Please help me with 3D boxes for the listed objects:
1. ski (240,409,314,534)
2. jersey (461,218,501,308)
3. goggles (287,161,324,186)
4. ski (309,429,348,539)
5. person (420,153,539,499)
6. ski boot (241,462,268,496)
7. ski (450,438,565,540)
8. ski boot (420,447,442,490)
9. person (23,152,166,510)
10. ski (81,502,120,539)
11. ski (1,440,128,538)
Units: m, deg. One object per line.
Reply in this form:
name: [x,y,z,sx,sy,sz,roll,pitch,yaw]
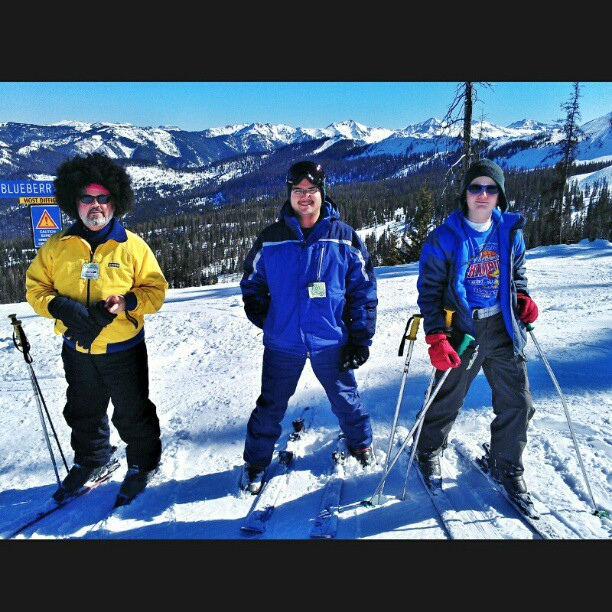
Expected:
ski: [-0.197,1.377,4.613,0.197,0.135,1.507,3,27,11]
jersey: [1.318,-0.313,4.012,0.273,0.632,0.132,-2,12,-3]
goggles: [0.002,-0.982,3.983,0.270,0.180,0.149,-2,13,-1]
ski: [0.247,1.363,4.495,0.135,0.074,1.407,4,20,7]
person: [1.293,0.178,4.041,0.859,2.485,0.661,1,13,10]
ski boot: [-0.427,1.414,4.394,0.106,0.158,0.338,19,10,-10]
ski: [1.541,1.368,4.285,0.169,0.094,1.588,-26,30,3]
ski boot: [0.993,1.297,4.317,0.111,0.374,0.151,-5,-26,1]
person: [-1.652,0.179,4.313,0.793,2.739,0.838,7,15,35]
ski: [-1.581,1.648,4.140,0.097,0.077,0.349,5,16,24]
ski: [-1.974,1.531,4.422,0.152,0.168,1.118,-6,21,43]
